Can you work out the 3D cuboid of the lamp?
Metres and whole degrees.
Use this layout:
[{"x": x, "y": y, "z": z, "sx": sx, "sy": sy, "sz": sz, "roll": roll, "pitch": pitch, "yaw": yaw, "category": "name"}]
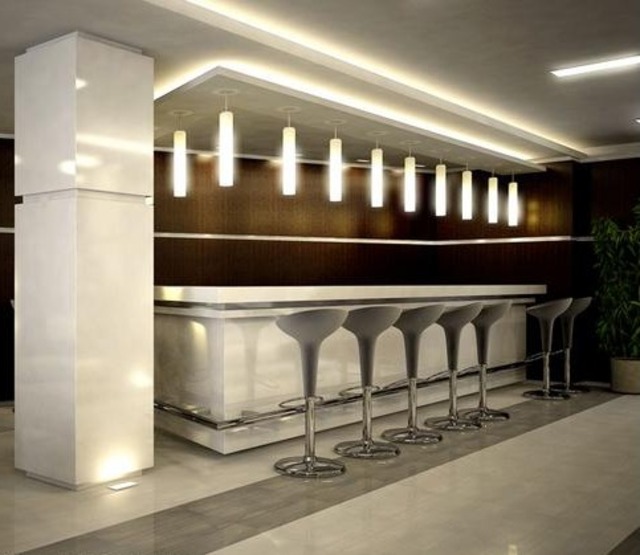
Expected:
[{"x": 0.248, "y": -1.125, "z": 6.797, "sx": 5.047, "sy": 0.956, "sz": 2.418, "roll": -1, "pitch": 1, "yaw": -45, "category": "lamp"}]
